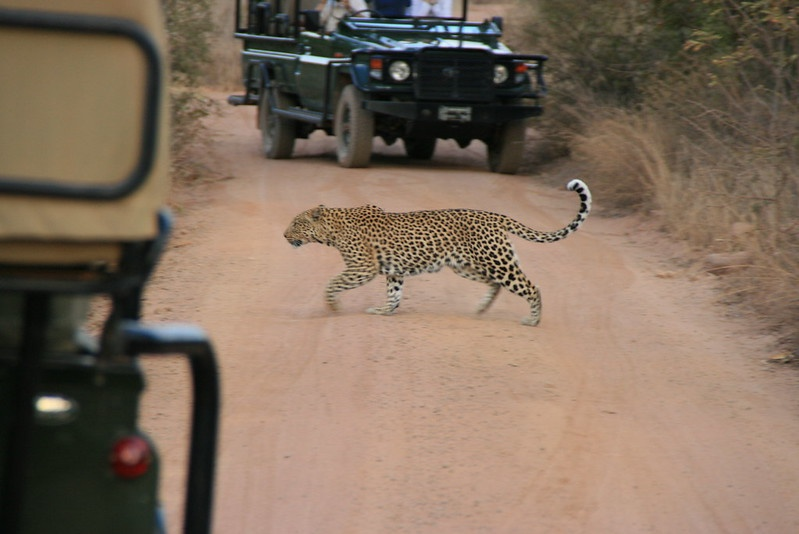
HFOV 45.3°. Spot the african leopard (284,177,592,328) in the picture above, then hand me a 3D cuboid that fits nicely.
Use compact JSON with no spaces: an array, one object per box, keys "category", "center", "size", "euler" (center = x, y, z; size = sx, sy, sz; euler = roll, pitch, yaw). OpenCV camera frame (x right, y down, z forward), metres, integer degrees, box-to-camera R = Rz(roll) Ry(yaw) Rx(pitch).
[{"category":"african leopard","center":[0.299,-0.065,6.855],"size":[2.713,0.741,0.523],"euler":[6,-4,33]}]

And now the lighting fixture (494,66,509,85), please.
[{"category":"lighting fixture","center":[1.170,-2.185,10.954],"size":[0.179,0.209,0.169],"euler":[9,30,-2]}]

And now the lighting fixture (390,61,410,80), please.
[{"category":"lighting fixture","center":[0.018,-2.153,10.576],"size":[0.229,0.208,0.130],"euler":[1,33,-13]}]

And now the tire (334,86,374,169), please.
[{"category":"tire","center":[-0.490,-1.599,11.159],"size":[0.436,1.095,0.645],"euler":[5,33,-12]}]
